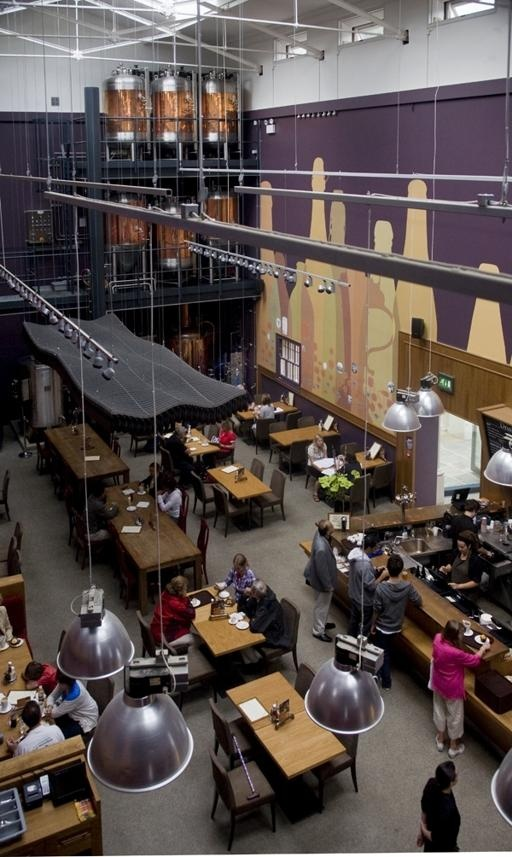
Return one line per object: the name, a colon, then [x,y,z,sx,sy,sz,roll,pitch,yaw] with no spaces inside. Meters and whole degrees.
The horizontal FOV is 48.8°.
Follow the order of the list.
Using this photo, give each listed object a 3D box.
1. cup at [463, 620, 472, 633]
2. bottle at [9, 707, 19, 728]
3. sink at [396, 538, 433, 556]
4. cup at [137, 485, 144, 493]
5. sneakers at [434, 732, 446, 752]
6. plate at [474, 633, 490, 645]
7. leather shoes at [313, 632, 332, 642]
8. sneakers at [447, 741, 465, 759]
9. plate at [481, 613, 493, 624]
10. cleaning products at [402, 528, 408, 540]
cup: [2.577,2.426,6.886,0.068,0.113,0.148,-5,-3,6]
bottle: [-2.426,2.907,5.664,0.047,0.177,0.067,4,-7,6]
sink: [2.504,1.854,8.851,0.260,0.193,0.281,-6,20,-15]
cup: [-2.243,1.170,11.033,0.109,0.132,0.112,-1,9,0]
sneakers: [2.096,3.546,6.422,0.077,0.101,0.221,-1,26,4]
plate: [2.621,2.454,6.572,0.096,0.026,0.098,-18,21,-38]
leather shoes: [0.983,3.049,8.327,0.268,0.140,0.110,3,9,20]
sneakers: [2.239,3.589,6.335,0.120,0.142,0.294,-4,-2,23]
plate: [2.867,2.364,7.029,0.109,0.099,0.121,-3,15,-7]
cleaning products: [2.428,1.700,9.150,0.084,0.194,0.116,2,13,18]
